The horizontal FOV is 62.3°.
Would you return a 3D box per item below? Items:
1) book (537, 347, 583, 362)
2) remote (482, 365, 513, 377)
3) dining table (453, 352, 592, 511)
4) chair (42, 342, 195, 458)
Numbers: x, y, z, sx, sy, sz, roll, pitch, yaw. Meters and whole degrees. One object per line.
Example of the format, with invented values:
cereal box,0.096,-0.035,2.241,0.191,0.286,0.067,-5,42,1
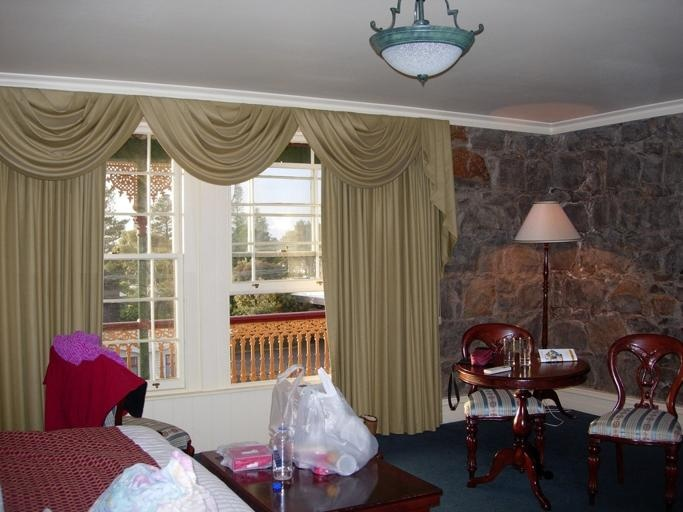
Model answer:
book,1.531,0.712,4.043,0.177,0.040,0.123,0,9,-1
remote,1.047,0.772,3.819,0.182,0.027,0.250,0,3,17
dining table,1.198,1.149,4.063,0.906,0.769,0.906,0,0,-19
chair,-1.547,0.866,3.607,0.799,0.802,0.535,10,12,22
